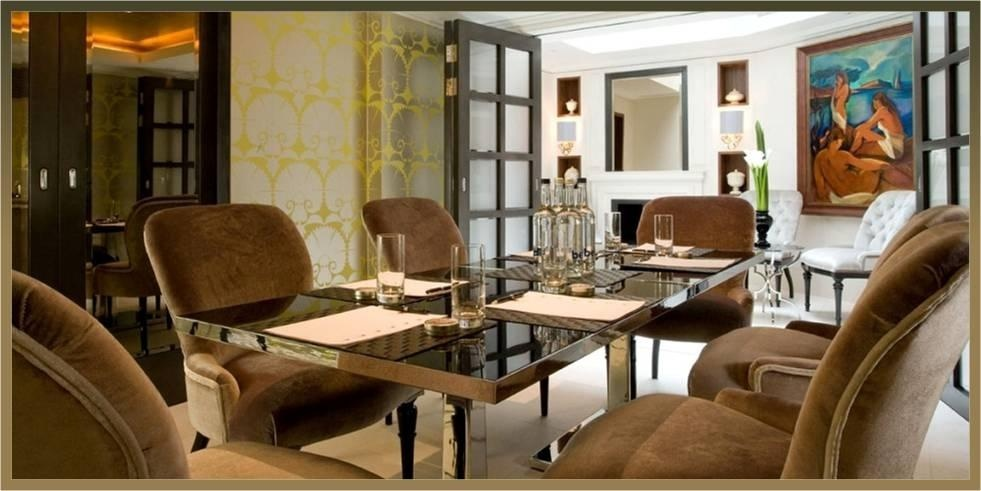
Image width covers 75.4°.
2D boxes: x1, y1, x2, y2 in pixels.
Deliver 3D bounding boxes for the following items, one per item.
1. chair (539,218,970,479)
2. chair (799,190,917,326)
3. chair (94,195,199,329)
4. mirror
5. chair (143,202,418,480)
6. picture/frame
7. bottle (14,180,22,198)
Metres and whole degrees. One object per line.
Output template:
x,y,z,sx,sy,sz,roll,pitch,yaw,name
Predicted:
1.143,0.379,2.751,1.452,1.262,1.153,8,9,40,chair
3.468,0.065,6.027,1.131,1.023,0.938,-13,7,-22,chair
-2.343,0.132,4.473,0.733,0.808,0.651,-2,-5,26,chair
1.974,-1.599,8.093,1.134,1.286,0.180,2,11,32,mirror
-1.033,0.511,3.063,1.241,1.207,1.052,14,18,8,chair
3.773,-1.263,6.622,0.357,1.844,1.111,-10,11,-33,picture/frame
-2.812,-0.329,3.774,0.042,0.092,0.019,-7,10,-19,bottle
